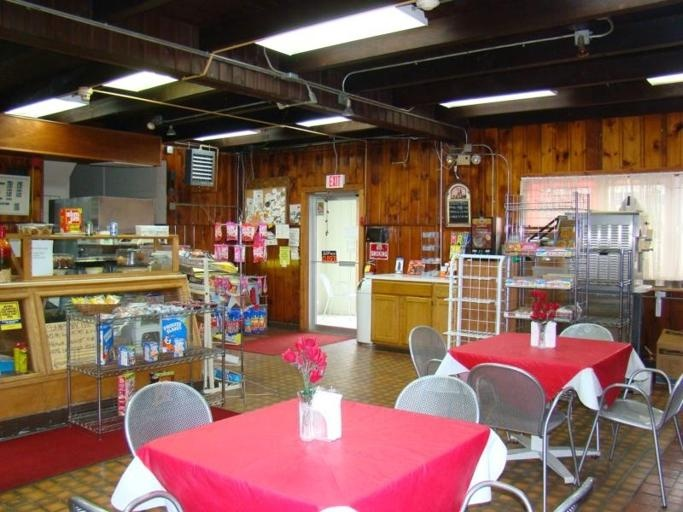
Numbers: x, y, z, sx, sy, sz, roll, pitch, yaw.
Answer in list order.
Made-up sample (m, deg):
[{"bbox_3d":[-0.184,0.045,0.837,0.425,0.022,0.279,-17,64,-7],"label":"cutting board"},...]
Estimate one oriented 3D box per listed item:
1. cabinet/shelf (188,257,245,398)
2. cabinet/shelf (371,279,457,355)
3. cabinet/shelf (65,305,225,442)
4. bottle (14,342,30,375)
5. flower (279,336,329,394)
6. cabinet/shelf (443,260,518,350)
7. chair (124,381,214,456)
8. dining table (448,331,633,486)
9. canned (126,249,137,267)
[{"bbox_3d":[-1.618,0.936,6.714,0.484,1.403,1.439,-1,6,-21],"label":"cabinet/shelf"},{"bbox_3d":[1.077,0.931,8.628,1.097,1.039,0.564,2,2,27],"label":"cabinet/shelf"},{"bbox_3d":[-1.876,1.055,4.772,0.379,0.936,1.180,6,5,41],"label":"cabinet/shelf"},{"bbox_3d":[-3.113,0.999,5.084,0.132,0.291,0.108,-3,4,-14],"label":"bottle"},{"bbox_3d":[-0.184,0.614,2.941,0.222,0.315,0.224,0,4,33],"label":"flower"},{"bbox_3d":[1.864,0.639,7.137,0.670,1.332,0.350,5,25,13],"label":"cabinet/shelf"},{"bbox_3d":[-1.047,1.064,3.146,0.424,0.514,0.368,-12,-1,-29],"label":"chair"},{"bbox_3d":[1.724,1.098,4.606,1.194,0.891,1.222,5,7,40],"label":"dining table"},{"bbox_3d":[-2.437,0.028,5.976,0.154,0.211,0.160,-2,-3,43],"label":"canned"}]
